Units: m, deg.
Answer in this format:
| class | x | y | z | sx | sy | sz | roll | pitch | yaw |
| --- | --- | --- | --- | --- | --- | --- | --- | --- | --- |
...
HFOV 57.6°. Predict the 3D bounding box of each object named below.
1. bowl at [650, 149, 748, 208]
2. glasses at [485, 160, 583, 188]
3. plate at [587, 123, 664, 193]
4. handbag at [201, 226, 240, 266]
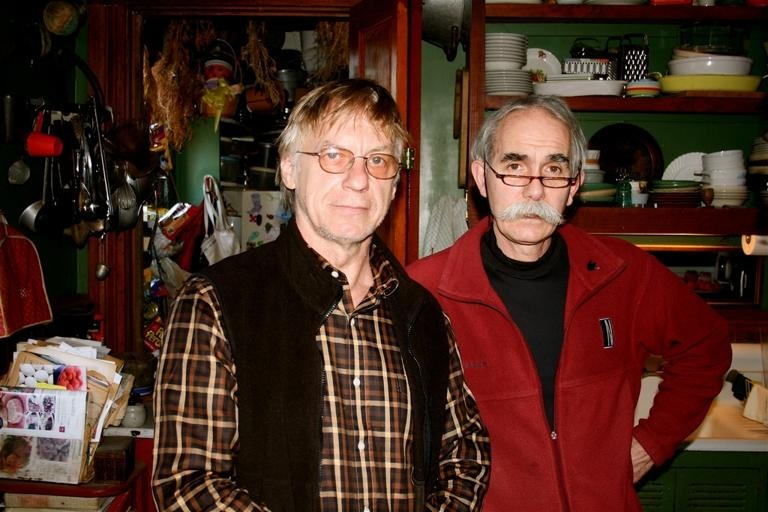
| class | x | y | z | sx | sy | sz | roll | pitch | yaw |
| --- | --- | --- | --- | --- | --- | --- | --- | --- | --- |
| bowl | 1.818 | -0.424 | 4.128 | 0.482 | 0.450 | 0.097 | -15 | 5 | 11 |
| glasses | 0.634 | -0.347 | 2.977 | 0.401 | 0.118 | 0.140 | -1 | -1 | 9 |
| plate | 1.554 | -0.616 | 4.483 | 0.419 | 0.427 | 0.088 | -6 | -2 | 0 |
| handbag | -1.073 | -0.077 | 4.539 | 0.206 | 0.267 | 0.151 | -17 | -1 | -21 |
